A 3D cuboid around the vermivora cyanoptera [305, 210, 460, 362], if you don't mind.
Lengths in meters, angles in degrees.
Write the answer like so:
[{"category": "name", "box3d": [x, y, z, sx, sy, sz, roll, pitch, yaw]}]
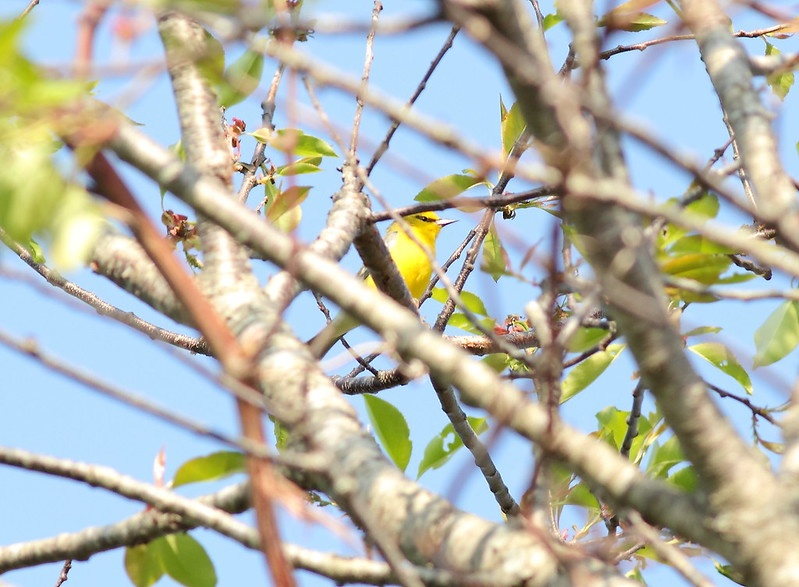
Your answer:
[{"category": "vermivora cyanoptera", "box3d": [-0.111, -0.223, 6.728, 1.195, 0.684, 0.402, -29, -24, -6]}]
